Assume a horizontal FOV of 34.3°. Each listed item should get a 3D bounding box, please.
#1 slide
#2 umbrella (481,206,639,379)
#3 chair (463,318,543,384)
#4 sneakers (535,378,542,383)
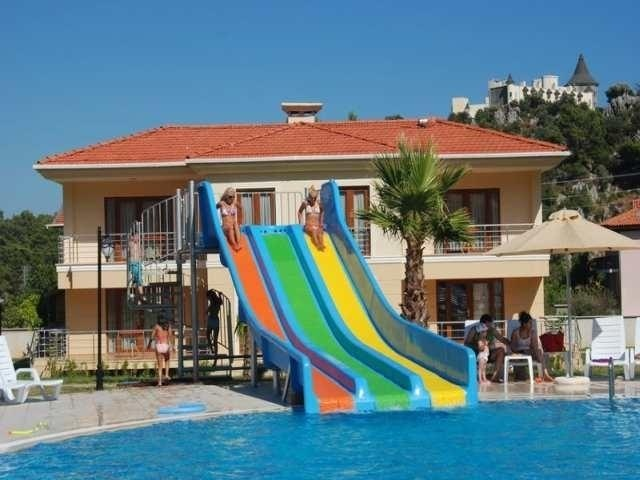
[{"bbox_3d":[0.283,1.496,26.900,4.107,5.759,6.897,0,-6,-31],"label":"slide"},{"bbox_3d":[6.560,1.338,28.370,3.721,3.987,4.038,0,0,9],"label":"umbrella"},{"bbox_3d":[4.877,3.466,27.860,2.387,2.171,1.453,1,-7,0],"label":"chair"},{"bbox_3d":[5.780,3.667,27.143,0.101,0.123,0.119,-3,0,2],"label":"sneakers"}]
